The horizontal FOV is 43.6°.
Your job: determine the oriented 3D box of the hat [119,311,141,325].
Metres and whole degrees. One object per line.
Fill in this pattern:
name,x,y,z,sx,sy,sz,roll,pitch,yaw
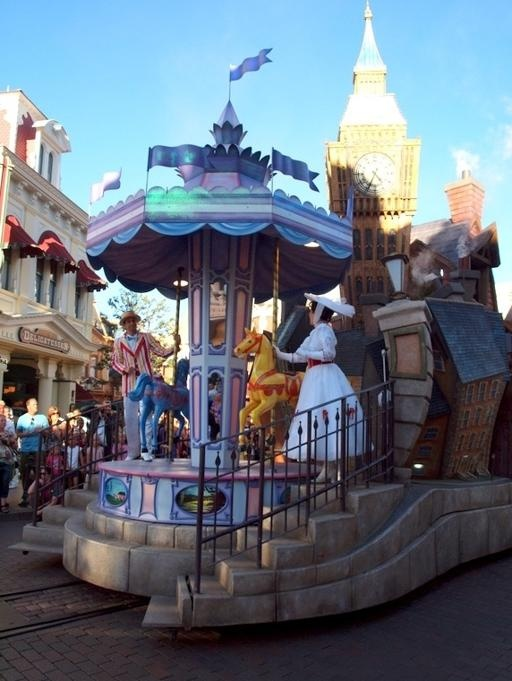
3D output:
hat,-1.568,-0.288,8.008,0.270,0.197,0.234,4,-6,-29

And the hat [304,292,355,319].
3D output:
hat,0.880,-0.358,6.943,0.331,0.122,0.356,14,-2,31

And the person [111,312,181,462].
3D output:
person,-1.481,0.553,8.010,0.432,1.834,0.668,-3,-7,37
